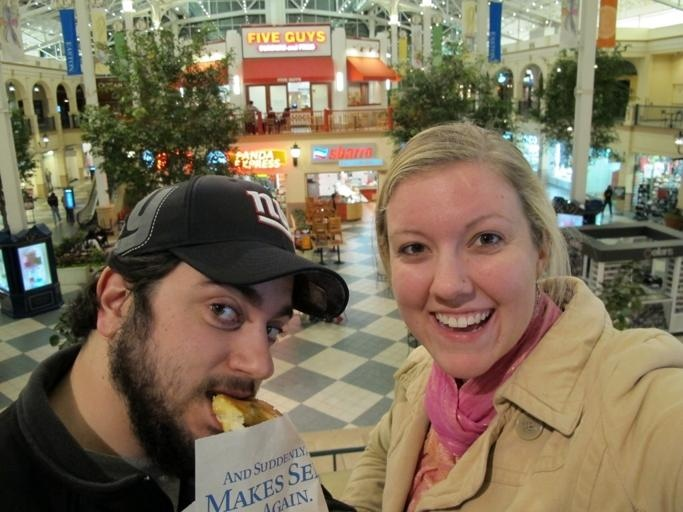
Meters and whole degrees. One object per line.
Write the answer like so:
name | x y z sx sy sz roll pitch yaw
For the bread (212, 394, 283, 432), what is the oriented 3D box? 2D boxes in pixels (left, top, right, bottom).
bread | -0.333 0.527 1.679 0.145 0.043 0.147 20 9 -22

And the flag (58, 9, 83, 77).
flag | -10.714 -8.356 19.602 0.587 2.688 3.908 -9 14 -25

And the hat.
hat | -0.376 -0.059 1.835 0.731 0.388 0.507 12 -4 14
